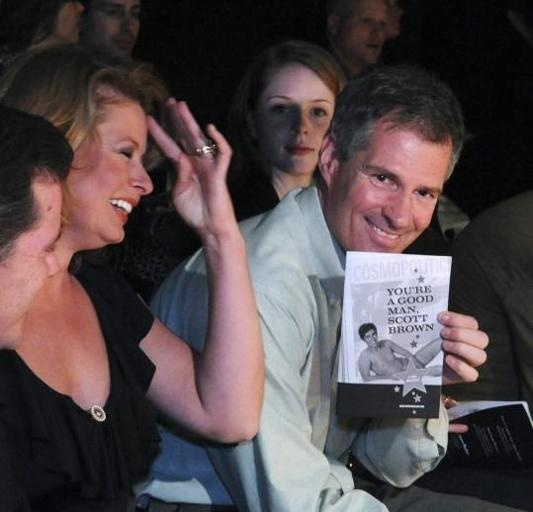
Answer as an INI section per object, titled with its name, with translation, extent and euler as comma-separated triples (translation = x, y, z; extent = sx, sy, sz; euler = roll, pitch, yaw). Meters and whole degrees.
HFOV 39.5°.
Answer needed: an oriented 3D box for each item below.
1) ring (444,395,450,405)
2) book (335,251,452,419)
[ring]
translation = 0.414, 0.332, 1.688
extent = 0.017, 0.017, 0.020
euler = 1, -16, 1
[book]
translation = 0.220, 0.149, 1.283
extent = 0.211, 0.317, 0.111
euler = -4, 20, 9
